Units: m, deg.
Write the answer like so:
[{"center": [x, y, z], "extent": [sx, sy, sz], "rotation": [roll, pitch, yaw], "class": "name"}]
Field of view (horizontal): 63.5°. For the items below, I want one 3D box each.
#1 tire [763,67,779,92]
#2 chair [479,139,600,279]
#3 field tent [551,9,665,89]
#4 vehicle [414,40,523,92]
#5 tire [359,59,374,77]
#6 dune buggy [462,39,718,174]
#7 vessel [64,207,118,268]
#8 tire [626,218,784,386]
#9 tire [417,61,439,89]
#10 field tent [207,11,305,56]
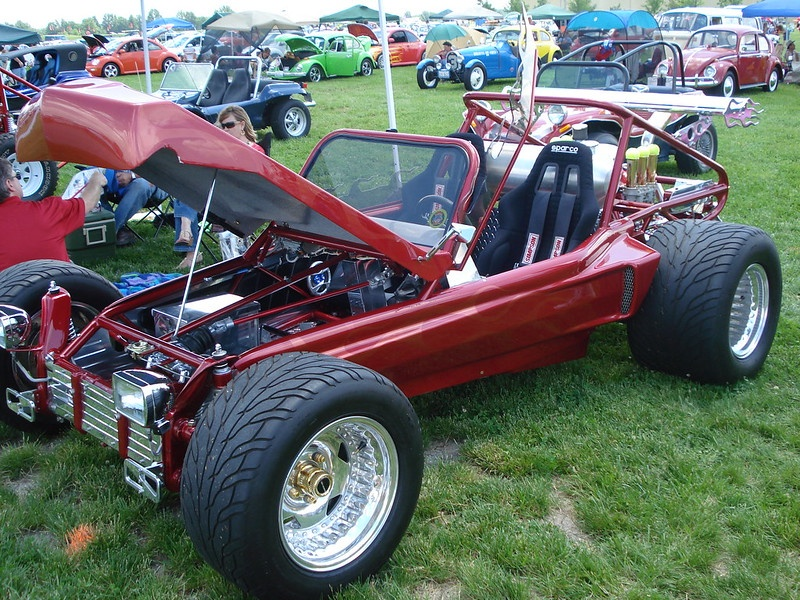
[{"center": [9.633, -5.742, 16.834], "extent": [0.615, 0.618, 0.271], "rotation": [-5, 2, -42], "class": "tire"}, {"center": [0.913, -0.520, 4.220], "extent": [0.854, 0.940, 0.734], "rotation": [-3, 14, -36], "class": "chair"}, {"center": [4.205, -5.302, 14.637], "extent": [1.447, 1.680, 1.881], "rotation": [6, -3, 7], "class": "field tent"}, {"center": [2.658, -6.807, 18.440], "extent": [2.942, 1.005, 1.546], "rotation": [-19, 33, -26], "class": "vehicle"}, {"center": [-1.168, -7.879, 22.002], "extent": [0.246, 0.706, 0.699], "rotation": [16, 17, 28], "class": "tire"}, {"center": [2.684, -2.774, 9.631], "extent": [1.827, 1.873, 3.141], "rotation": [5, 27, 10], "class": "dune buggy"}, {"center": [-3.033, -0.646, 6.570], "extent": [0.589, 0.570, 0.579], "rotation": [-5, 10, -41], "class": "vessel"}, {"center": [2.114, 0.015, 4.438], "extent": [1.081, 1.087, 0.552], "rotation": [-9, 17, -40], "class": "tire"}, {"center": [0.788, -6.282, 18.111], "extent": [0.294, 0.771, 0.773], "rotation": [16, 2, 37], "class": "tire"}, {"center": [-4.072, -7.434, 17.819], "extent": [0.763, 1.012, 2.617], "rotation": [14, 21, 40], "class": "field tent"}]
